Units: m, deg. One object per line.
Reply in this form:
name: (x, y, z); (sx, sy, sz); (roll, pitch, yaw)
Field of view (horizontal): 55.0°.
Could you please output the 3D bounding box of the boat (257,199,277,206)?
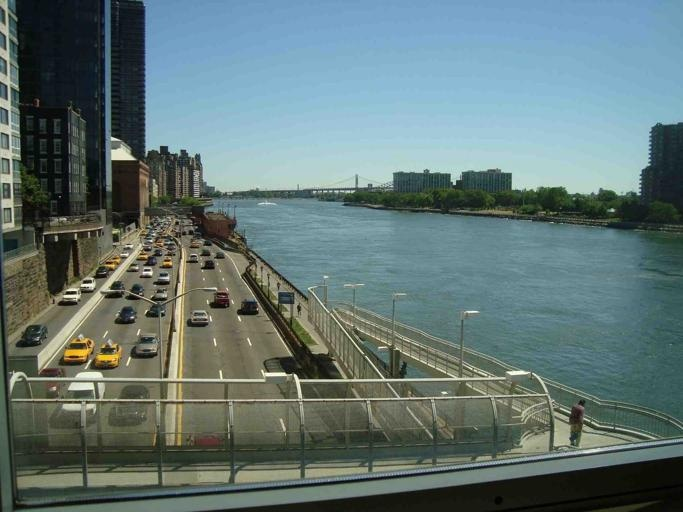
boat: (-23.690, -17.244, 205.005); (5.187, 2.408, 6.888); (-1, 1, -5)
